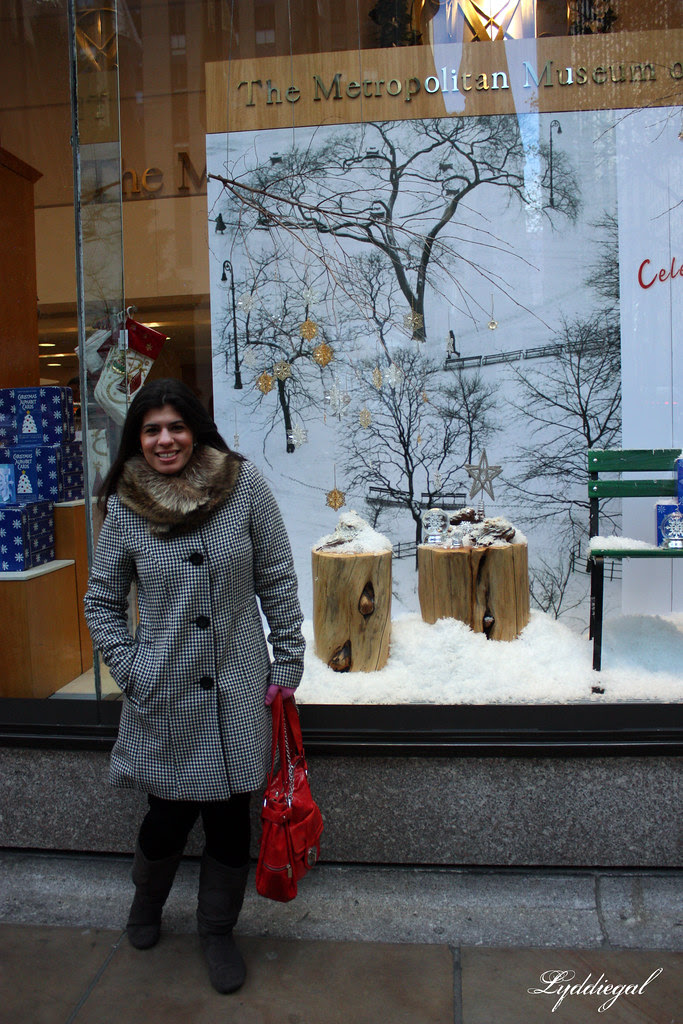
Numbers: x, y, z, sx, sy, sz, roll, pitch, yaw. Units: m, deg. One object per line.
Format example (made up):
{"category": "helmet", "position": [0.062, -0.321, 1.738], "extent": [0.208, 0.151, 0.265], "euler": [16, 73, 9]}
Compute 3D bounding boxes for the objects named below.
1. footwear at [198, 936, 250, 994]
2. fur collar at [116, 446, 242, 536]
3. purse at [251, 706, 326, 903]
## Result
{"category": "footwear", "position": [-0.314, 1.226, 2.877], "extent": [0.070, 0.083, 0.205], "euler": [-4, -5, -17]}
{"category": "fur collar", "position": [-0.428, -0.058, 2.833], "extent": [0.344, 0.220, 0.186], "euler": [-3, 6, -8]}
{"category": "purse", "position": [-0.142, 0.753, 2.822], "extent": [0.163, 0.500, 0.232], "euler": [-2, 6, 2]}
